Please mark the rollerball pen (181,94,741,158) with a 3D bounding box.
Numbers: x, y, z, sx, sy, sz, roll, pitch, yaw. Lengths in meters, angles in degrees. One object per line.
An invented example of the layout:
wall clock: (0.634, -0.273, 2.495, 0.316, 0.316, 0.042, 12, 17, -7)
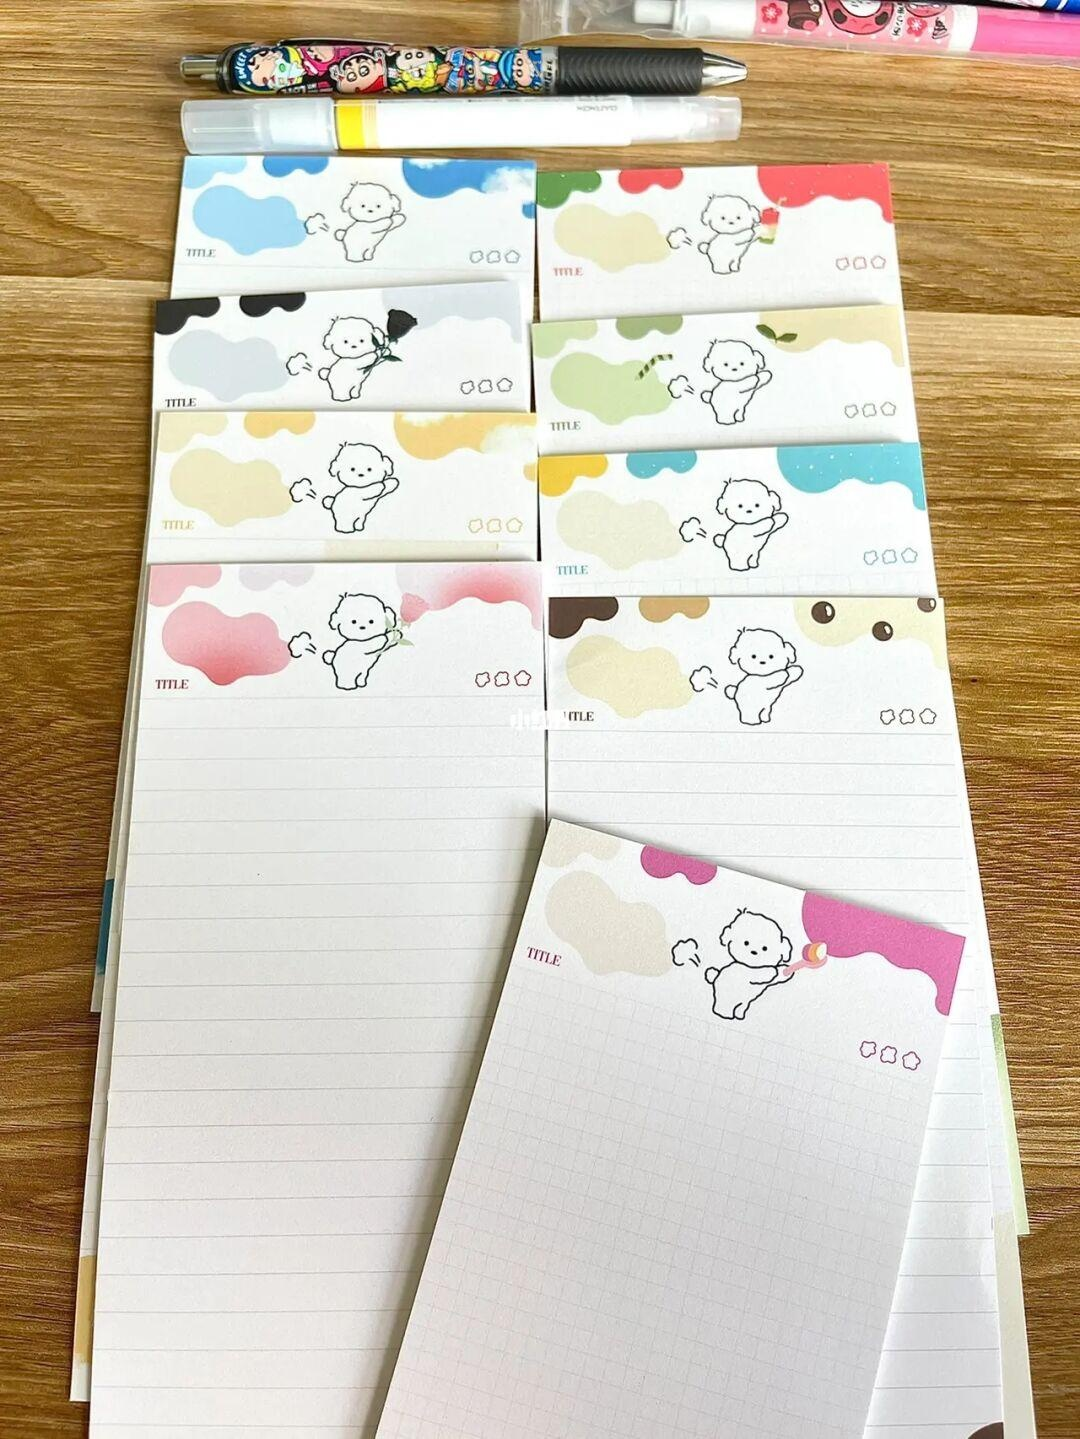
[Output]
rollerball pen: (-0.044, -0.337, 0.774, 0.261, 0.027, 0.028, 0, 37, -1)
